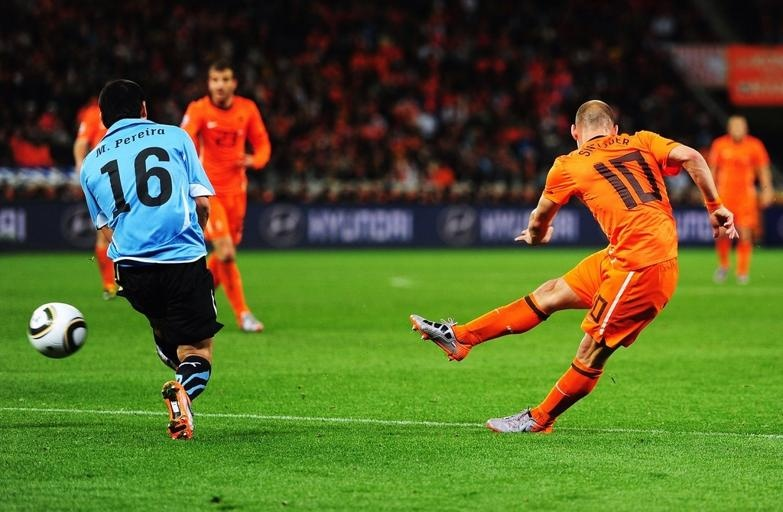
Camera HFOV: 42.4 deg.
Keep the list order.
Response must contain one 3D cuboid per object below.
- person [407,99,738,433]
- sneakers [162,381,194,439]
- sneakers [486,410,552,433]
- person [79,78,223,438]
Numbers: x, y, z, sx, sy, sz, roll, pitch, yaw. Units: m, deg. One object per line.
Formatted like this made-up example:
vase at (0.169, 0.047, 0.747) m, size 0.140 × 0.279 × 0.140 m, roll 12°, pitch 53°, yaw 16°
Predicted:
person at (1.398, 0.070, 7.878) m, size 1.585 × 2.559 × 0.438 m, roll 0°, pitch 4°, yaw 8°
sneakers at (-1.564, 1.130, 7.495) m, size 0.178 × 0.472 × 0.216 m, roll -7°, pitch -3°, yaw 2°
sneakers at (0.981, 1.300, 7.941) m, size 0.520 × 0.203 × 0.188 m, roll 5°, pitch -14°, yaw 0°
person at (-1.795, -0.006, 7.790) m, size 0.945 × 2.705 × 0.647 m, roll 2°, pitch 5°, yaw 32°
